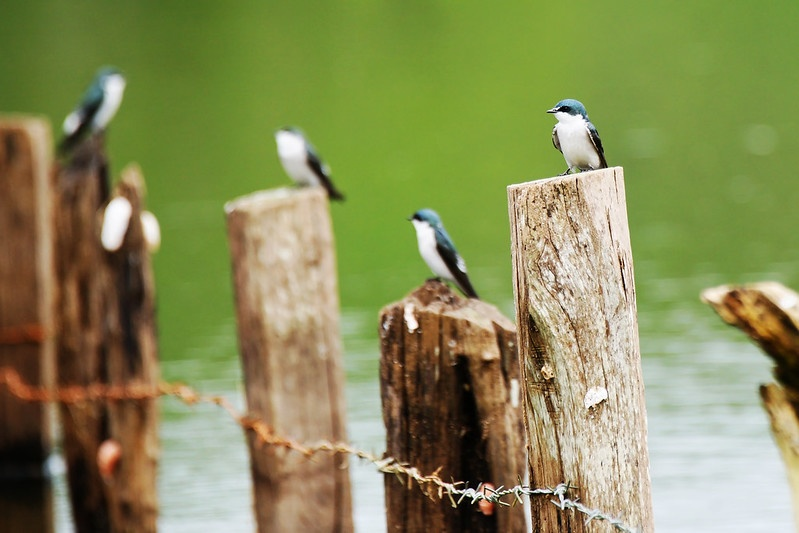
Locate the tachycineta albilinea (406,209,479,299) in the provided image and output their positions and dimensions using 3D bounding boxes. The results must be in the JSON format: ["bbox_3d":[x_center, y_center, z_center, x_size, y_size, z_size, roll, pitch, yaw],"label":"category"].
[{"bbox_3d":[0.232,-0.079,7.906,0.342,0.521,0.214,-4,-11,-6],"label":"tachycineta albilinea"}]

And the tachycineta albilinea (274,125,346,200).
[{"bbox_3d":[-0.504,-0.561,7.917,0.331,0.445,0.165,-10,-12,22],"label":"tachycineta albilinea"}]

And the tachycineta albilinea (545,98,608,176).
[{"bbox_3d":[0.961,-0.703,7.751,0.265,0.396,0.488,-2,5,39],"label":"tachycineta albilinea"}]
